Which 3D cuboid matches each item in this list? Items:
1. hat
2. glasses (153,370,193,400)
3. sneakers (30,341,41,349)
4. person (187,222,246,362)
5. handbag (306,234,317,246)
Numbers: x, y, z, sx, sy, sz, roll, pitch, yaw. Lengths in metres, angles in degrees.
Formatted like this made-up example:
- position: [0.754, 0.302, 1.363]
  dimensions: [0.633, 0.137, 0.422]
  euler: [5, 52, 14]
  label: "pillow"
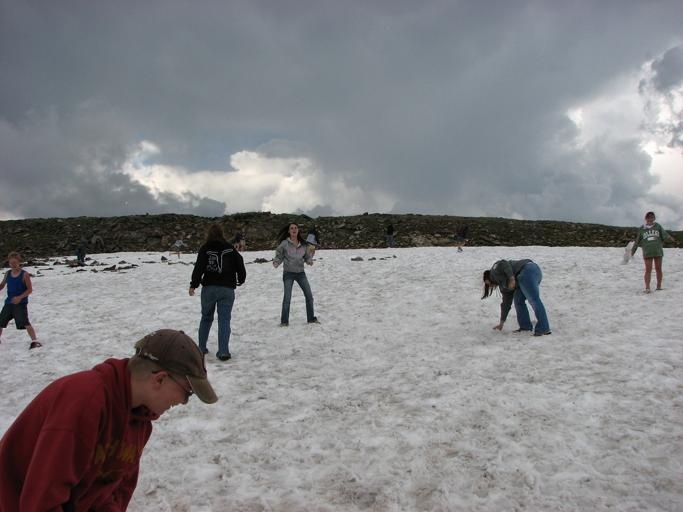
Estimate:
- position: [-1.291, 0.868, 3.731]
  dimensions: [0.761, 0.440, 0.483]
  euler: [30, -27, -20]
  label: "hat"
- position: [-1.279, 0.995, 3.571]
  dimensions: [0.071, 0.235, 0.228]
  euler: [-43, -8, -19]
  label: "glasses"
- position: [-5.809, 1.680, 8.816]
  dimensions: [0.135, 0.160, 0.152]
  euler: [-6, -18, -10]
  label: "sneakers"
- position: [-2.178, 0.621, 8.244]
  dimensions: [0.902, 2.420, 0.804]
  euler: [-1, -2, -15]
  label: "person"
- position: [-0.620, -0.325, 9.725]
  dimensions: [0.185, 0.219, 0.361]
  euler: [-3, -10, -7]
  label: "handbag"
